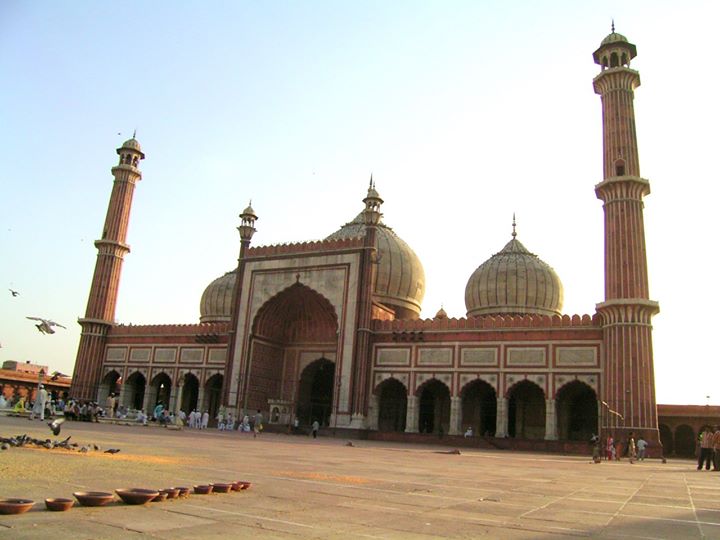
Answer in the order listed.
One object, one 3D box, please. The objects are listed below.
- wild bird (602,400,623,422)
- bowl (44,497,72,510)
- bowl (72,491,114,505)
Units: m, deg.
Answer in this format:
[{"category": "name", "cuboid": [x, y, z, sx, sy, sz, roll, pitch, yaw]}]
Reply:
[{"category": "wild bird", "cuboid": [9.970, 5.620, 22.175, 0.516, 0.775, 0.781, 8, -17, -17]}, {"category": "bowl", "cuboid": [-2.501, 1.968, 4.674, 0.147, 0.051, 0.147, 3, -12, 1]}, {"category": "bowl", "cuboid": [-2.371, 2.046, 4.991, 0.323, 0.096, 0.338, 2, -16, 1]}]
